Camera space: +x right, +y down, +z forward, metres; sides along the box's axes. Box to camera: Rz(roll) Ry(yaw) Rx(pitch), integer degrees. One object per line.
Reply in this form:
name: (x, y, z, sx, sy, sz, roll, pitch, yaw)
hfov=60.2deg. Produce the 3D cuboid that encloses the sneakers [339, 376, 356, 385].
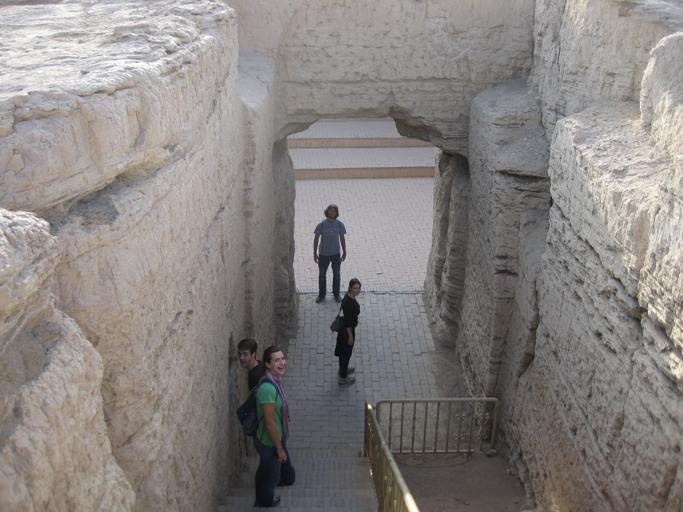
sneakers: (0.093, 1.496, 7.144, 0.207, 0.092, 0.083, -5, 34, 0)

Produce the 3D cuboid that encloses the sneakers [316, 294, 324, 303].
sneakers: (-0.301, 0.643, 8.787, 0.065, 0.066, 0.144, 3, 5, 20)

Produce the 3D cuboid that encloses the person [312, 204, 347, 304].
person: (-0.136, 0.028, 8.558, 0.440, 1.367, 0.632, 0, 13, 0)

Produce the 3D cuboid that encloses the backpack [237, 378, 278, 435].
backpack: (-0.683, 1.158, 4.407, 0.185, 0.390, 0.109, 1, 13, 7)

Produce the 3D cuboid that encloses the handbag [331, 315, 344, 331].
handbag: (-0.018, 0.748, 6.688, 0.134, 0.189, 0.163, 1, 13, 7)
